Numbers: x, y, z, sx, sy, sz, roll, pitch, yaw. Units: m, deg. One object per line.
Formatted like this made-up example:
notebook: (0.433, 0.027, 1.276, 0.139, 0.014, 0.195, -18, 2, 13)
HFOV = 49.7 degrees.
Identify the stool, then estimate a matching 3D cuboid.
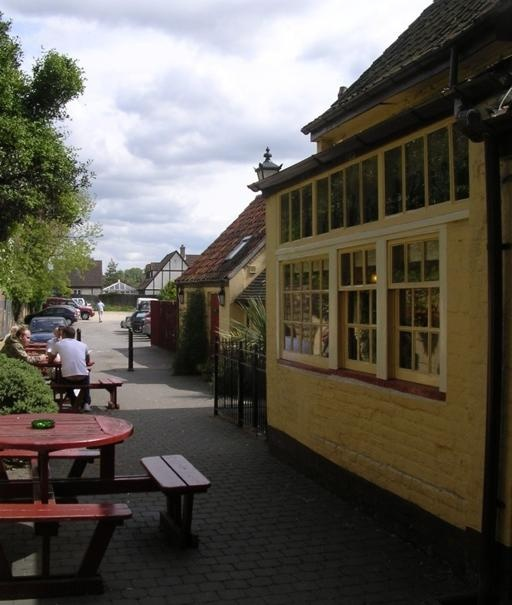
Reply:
stool: (-0.686, 1.639, 4.480, 0.471, 0.564, 1.052, 2, -4, -13)

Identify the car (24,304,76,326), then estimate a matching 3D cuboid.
car: (-13.222, 0.785, 35.629, 2.709, 1.154, 1.484, 3, 1, -17)

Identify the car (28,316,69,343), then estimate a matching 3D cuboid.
car: (-8.464, 1.031, 22.107, 1.542, 1.120, 3.387, -1, 2, -12)

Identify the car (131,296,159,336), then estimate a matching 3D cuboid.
car: (-8.129, 0.962, 39.410, 2.472, 2.136, 4.242, 0, 5, -13)

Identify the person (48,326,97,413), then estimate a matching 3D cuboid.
person: (-3.429, 1.250, 10.280, 0.745, 1.606, 1.475, 2, -4, -16)
